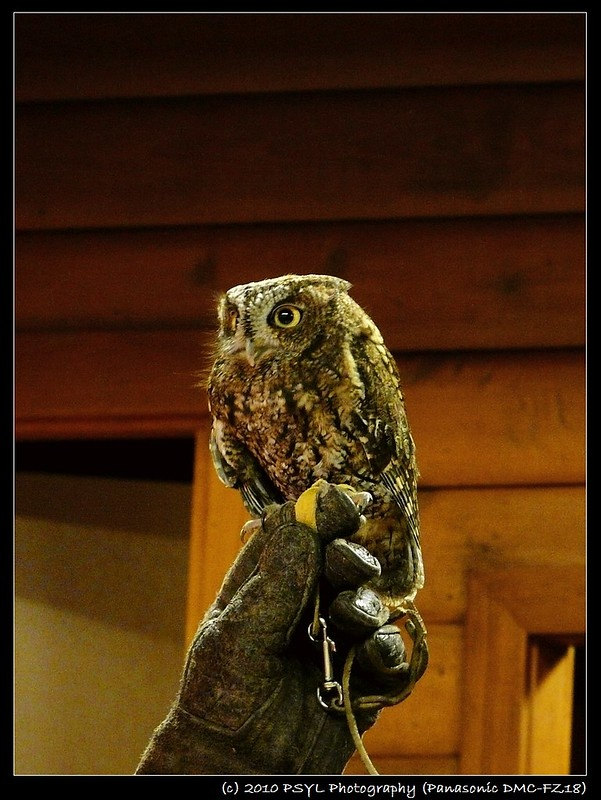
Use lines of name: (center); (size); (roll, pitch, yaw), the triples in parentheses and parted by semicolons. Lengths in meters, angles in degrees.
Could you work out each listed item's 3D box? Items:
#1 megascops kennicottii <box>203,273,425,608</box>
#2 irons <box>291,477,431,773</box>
megascops kennicottii: (0.029, 0.032, 1.665); (0.238, 0.433, 0.260); (-4, -2, 2)
irons: (0.054, 0.256, 1.502); (0.165, 0.322, 0.235); (-2, 1, 6)
